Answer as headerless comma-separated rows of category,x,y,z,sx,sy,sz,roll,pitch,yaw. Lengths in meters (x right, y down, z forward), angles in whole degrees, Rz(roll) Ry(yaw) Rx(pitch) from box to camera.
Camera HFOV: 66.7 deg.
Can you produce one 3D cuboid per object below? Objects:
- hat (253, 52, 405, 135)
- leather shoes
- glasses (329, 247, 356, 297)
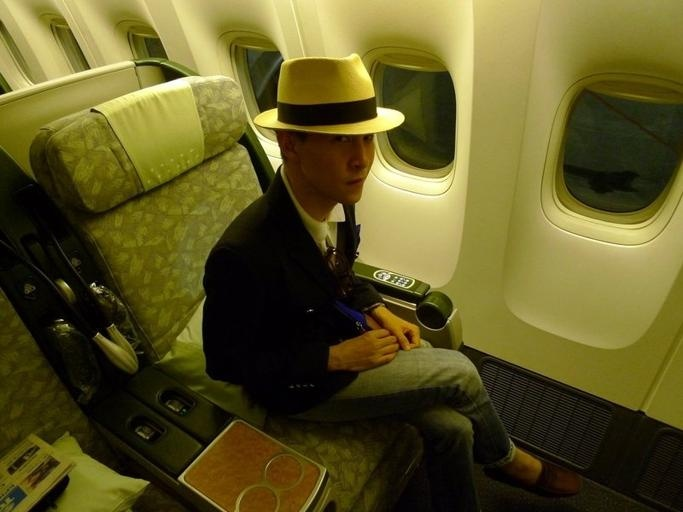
hat,-0.089,-0.552,1.805,0.333,0.149,0.370,-18,27,-34
leather shoes,0.862,0.994,2.421,0.605,0.161,0.241,16,71,-24
glasses,-0.003,0.063,2.047,0.058,0.175,0.120,-6,21,-11
